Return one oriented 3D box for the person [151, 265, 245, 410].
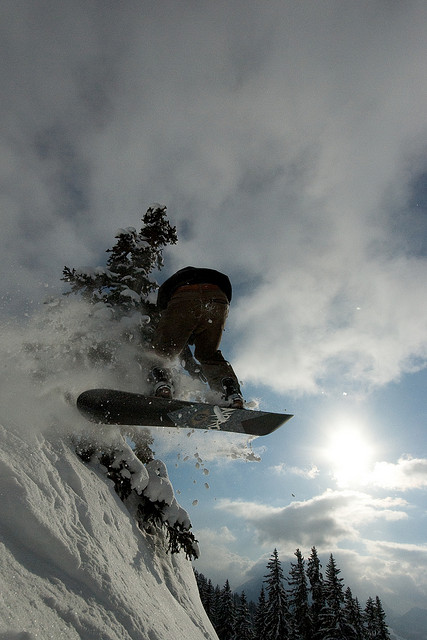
[{"bbox_3d":[-0.271,0.371,11.138,1.483,2.622,0.931,6,-35,-5],"label":"person"}]
